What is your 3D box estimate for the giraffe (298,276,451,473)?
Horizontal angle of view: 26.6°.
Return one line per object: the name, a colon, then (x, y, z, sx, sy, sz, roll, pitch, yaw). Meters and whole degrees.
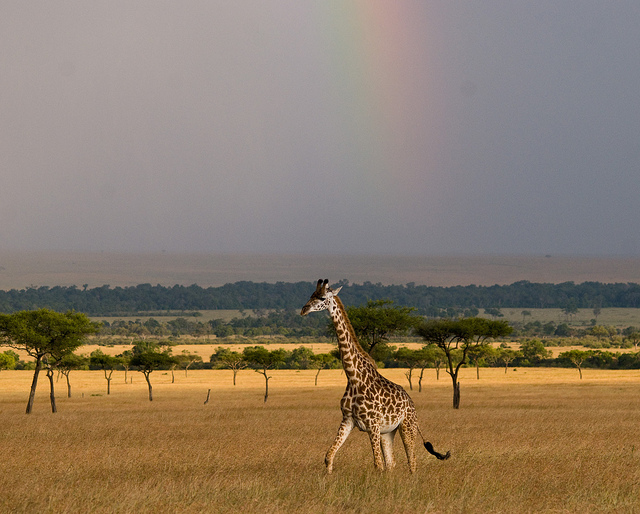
giraffe: (3.744, 12.751, 130.347, 10.351, 21.419, 5.868, 0, -4, -17)
